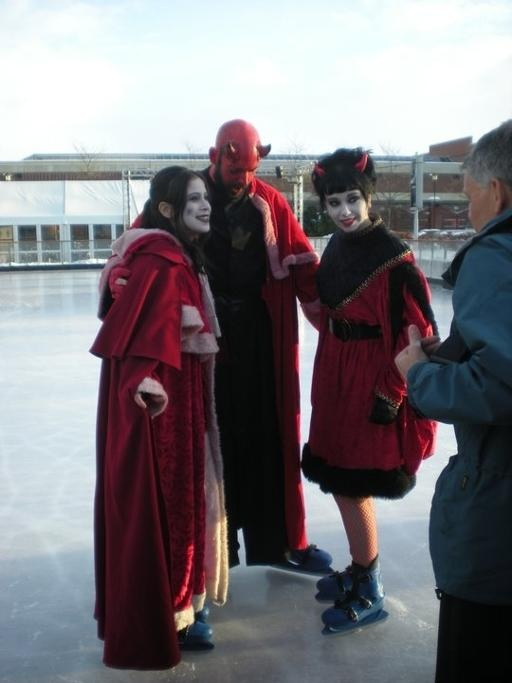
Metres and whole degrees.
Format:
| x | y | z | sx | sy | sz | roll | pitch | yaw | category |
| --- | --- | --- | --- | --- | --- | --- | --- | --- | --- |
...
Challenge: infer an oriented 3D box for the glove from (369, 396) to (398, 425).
| x | y | z | sx | sy | sz | roll | pitch | yaw | category |
| --- | --- | --- | --- | --- | --- | --- | --- | --- | --- |
| 0.373 | 0.203 | 2.371 | 0.082 | 0.076 | 0.046 | 5 | 24 | -12 | glove |

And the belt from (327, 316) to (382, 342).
| x | y | z | sx | sy | sz | roll | pitch | yaw | category |
| --- | --- | --- | --- | --- | --- | --- | --- | --- | --- |
| 0.320 | -0.045 | 2.507 | 0.108 | 0.040 | 0.093 | 2 | 5 | -14 | belt |

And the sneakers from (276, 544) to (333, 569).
| x | y | z | sx | sy | sz | roll | pitch | yaw | category |
| --- | --- | --- | --- | --- | --- | --- | --- | --- | --- |
| 0.150 | 0.759 | 2.852 | 0.220 | 0.074 | 0.075 | -1 | 4 | 18 | sneakers |

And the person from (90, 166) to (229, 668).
| x | y | z | sx | sy | sz | roll | pitch | yaw | category |
| --- | --- | --- | --- | --- | --- | --- | --- | --- | --- |
| -0.284 | 0.222 | 2.279 | 0.396 | 1.408 | 0.647 | -1 | 14 | -3 | person |
